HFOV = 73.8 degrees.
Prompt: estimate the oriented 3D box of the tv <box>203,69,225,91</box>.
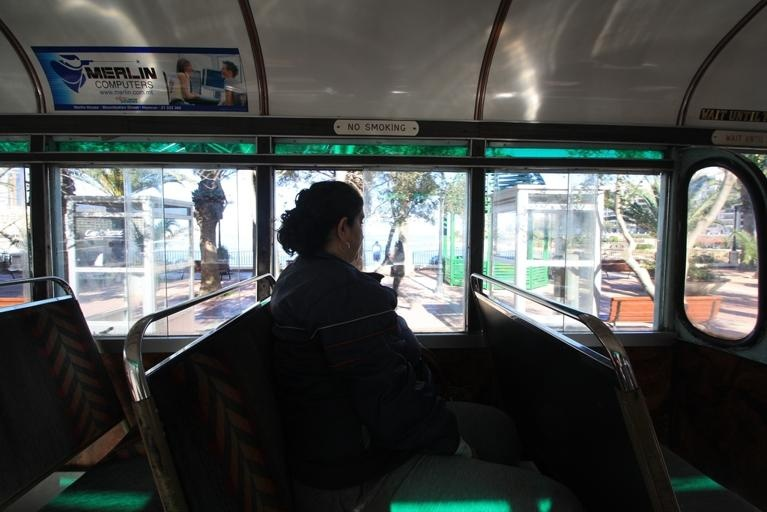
[{"bbox_3d":[-1.827,-1.898,5.490,0.195,0.135,0.026,15,11,-11],"label":"tv"}]
